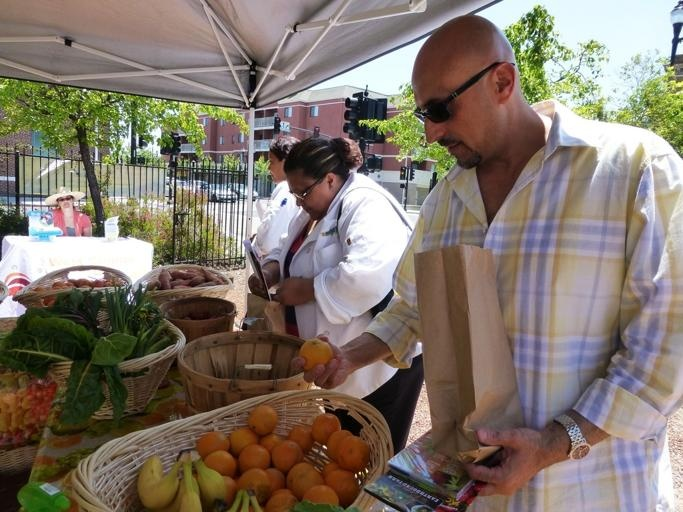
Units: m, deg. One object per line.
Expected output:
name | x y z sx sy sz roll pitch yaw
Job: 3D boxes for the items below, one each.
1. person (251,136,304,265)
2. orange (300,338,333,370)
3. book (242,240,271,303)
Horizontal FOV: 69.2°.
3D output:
person | -0.668 -0.523 5.228 0.512 1.422 0.519 -5 14 -33
orange | -0.098 0.422 2.107 0.126 0.127 0.126 -7 -11 3
book | -0.534 0.119 3.170 0.142 0.405 0.231 2 11 -6
